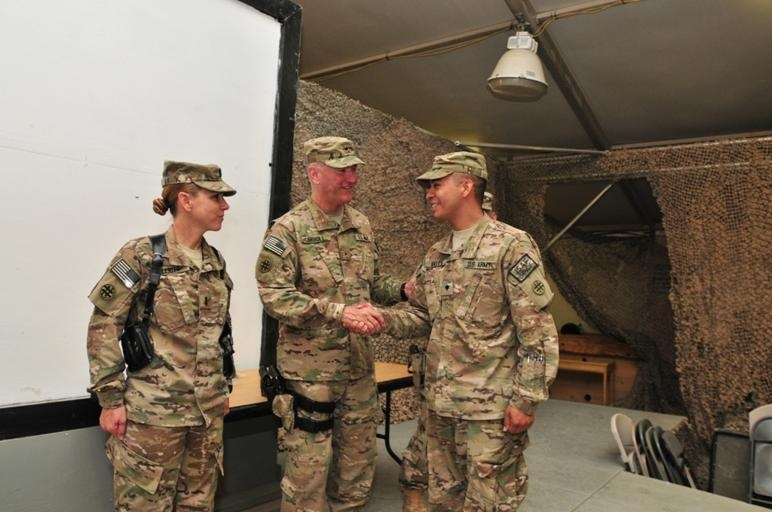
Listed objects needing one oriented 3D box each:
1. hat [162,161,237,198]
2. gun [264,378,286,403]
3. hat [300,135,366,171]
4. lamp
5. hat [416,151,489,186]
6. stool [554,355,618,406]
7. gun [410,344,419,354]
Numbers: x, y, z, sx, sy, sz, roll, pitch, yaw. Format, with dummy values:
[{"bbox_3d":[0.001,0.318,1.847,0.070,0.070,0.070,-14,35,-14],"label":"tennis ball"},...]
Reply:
[{"bbox_3d":[-1.187,-0.464,3.821,0.359,0.139,0.232,2,1,-14],"label":"hat"},{"bbox_3d":[-0.736,0.869,3.968,0.155,0.141,0.117,-8,-6,35],"label":"gun"},{"bbox_3d":[-0.356,-0.658,3.996,0.323,0.133,0.238,0,6,-35],"label":"hat"},{"bbox_3d":[1.354,-1.865,6.082,0.679,0.731,0.689,-1,-13,15],"label":"lamp"},{"bbox_3d":[0.434,-0.589,3.975,0.362,0.134,0.242,-7,8,-8],"label":"hat"},{"bbox_3d":[2.581,1.569,7.770,0.723,0.610,0.349,10,3,19],"label":"stool"},{"bbox_3d":[0.192,0.648,4.187,0.055,0.041,0.075,32,25,-9],"label":"gun"}]
